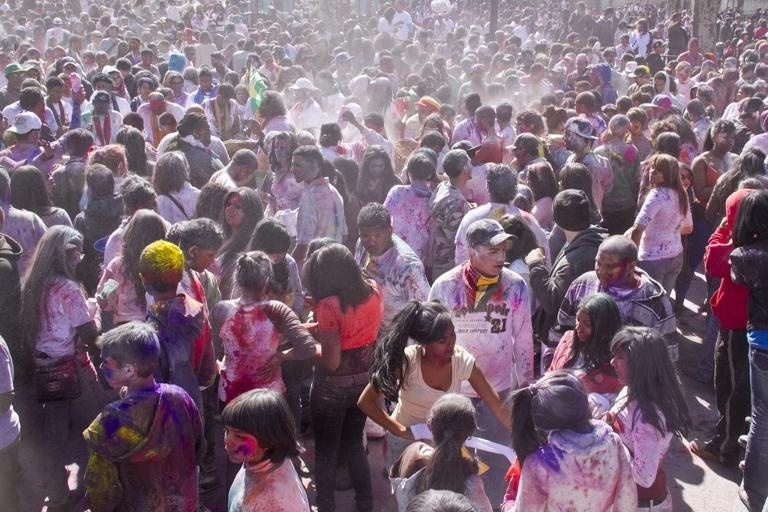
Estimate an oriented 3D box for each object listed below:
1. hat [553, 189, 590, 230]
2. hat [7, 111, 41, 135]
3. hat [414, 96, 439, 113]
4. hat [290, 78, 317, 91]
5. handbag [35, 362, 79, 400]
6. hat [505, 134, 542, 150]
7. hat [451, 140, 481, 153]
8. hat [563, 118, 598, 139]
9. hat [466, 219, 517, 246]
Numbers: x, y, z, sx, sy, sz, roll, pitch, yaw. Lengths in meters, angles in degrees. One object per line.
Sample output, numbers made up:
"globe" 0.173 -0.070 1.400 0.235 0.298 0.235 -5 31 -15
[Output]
"hat" 1.837 -0.441 6.790 0.325 0.295 0.377 -21 -32 35
"hat" -4.705 -1.757 9.052 0.278 0.235 0.388 15 14 39
"hat" 0.677 -2.304 10.570 0.319 0.130 0.247 17 11 -11
"hat" -1.367 -2.941 11.697 0.317 0.173 0.615 -3 16 -10
"handbag" -3.035 1.144 6.377 0.271 0.310 0.161 -5 15 -18
"hat" 1.784 -1.466 8.722 0.320 0.192 0.239 6 15 16
"hat" 1.017 -1.480 8.917 0.302 0.116 0.324 8 -3 -14
"hat" 2.592 -1.612 8.976 0.377 0.203 0.277 6 16 -41
"hat" 0.920 -0.200 5.974 0.302 0.175 0.240 -18 -2 33
